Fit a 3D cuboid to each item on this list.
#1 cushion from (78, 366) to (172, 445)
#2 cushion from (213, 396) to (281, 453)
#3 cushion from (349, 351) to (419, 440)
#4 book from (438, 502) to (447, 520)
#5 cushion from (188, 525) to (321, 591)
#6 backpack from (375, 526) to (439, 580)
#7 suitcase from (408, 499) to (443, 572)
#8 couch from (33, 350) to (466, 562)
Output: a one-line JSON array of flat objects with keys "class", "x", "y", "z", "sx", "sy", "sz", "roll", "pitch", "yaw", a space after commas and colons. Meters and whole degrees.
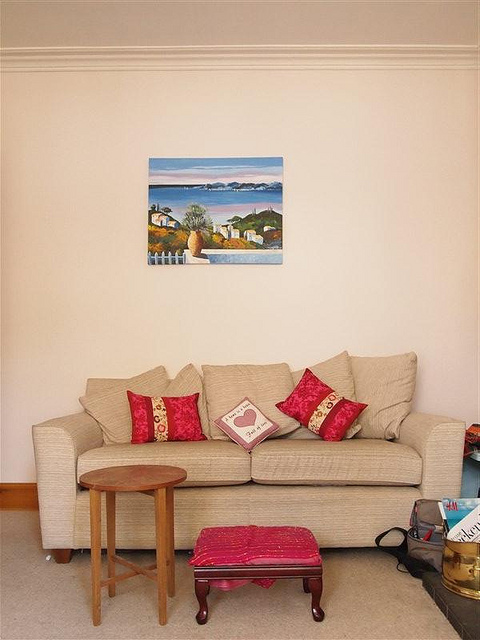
[{"class": "cushion", "x": -0.705, "y": 0.495, "z": 3.379, "sx": 0.436, "sy": 0.411, "sz": 0.129, "roll": -20, "pitch": -11, "yaw": -45}, {"class": "cushion", "x": 0.020, "y": 0.572, "z": 3.218, "sx": 0.247, "sy": 0.069, "sz": 0.262, "roll": 42, "pitch": 51, "yaw": 19}, {"class": "cushion", "x": 0.817, "y": 0.445, "z": 3.523, "sx": 0.285, "sy": 0.480, "sz": 0.562, "roll": -3, "pitch": -2, "yaw": -34}, {"class": "book", "x": 0.823, "y": 0.768, "z": 2.365, "sx": 0.027, "sy": 0.073, "sz": 0.074, "roll": 2, "pitch": 8, "yaw": 11}, {"class": "cushion", "x": 0.076, "y": 0.850, "z": 2.216, "sx": 0.394, "sy": 0.114, "sz": 0.302, "roll": 0, "pitch": -3, "yaw": -4}, {"class": "backpack", "x": 0.806, "y": 1.073, "z": 2.782, "sx": 0.355, "sy": 0.094, "sz": 0.204, "roll": -2, "pitch": 2, "yaw": 17}, {"class": "suitcase", "x": 0.882, "y": 1.006, "z": 2.712, "sx": 0.189, "sy": 0.255, "sz": 0.239, "roll": -1, "pitch": 42, "yaw": 26}, {"class": "couch", "x": 0.048, "y": 0.762, "z": 3.296, "sx": 2.143, "sy": 1.019, "sz": 0.851, "roll": 0, "pitch": -5, "yaw": 2}]
